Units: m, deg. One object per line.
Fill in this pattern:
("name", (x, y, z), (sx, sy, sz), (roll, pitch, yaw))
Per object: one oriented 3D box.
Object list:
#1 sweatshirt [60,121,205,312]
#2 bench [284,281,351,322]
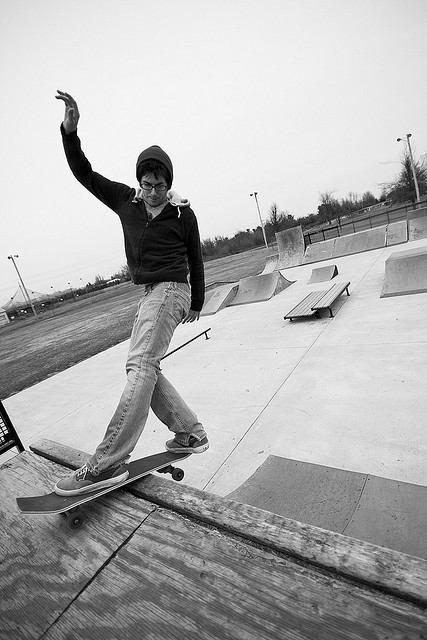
("sweatshirt", (-0.440, -0.563, 2.005), (0.688, 0.881, 0.463), (-9, 5, 10))
("bench", (2.204, -0.333, 7.017), (0.934, 0.492, 1.785), (-8, 6, 38))
